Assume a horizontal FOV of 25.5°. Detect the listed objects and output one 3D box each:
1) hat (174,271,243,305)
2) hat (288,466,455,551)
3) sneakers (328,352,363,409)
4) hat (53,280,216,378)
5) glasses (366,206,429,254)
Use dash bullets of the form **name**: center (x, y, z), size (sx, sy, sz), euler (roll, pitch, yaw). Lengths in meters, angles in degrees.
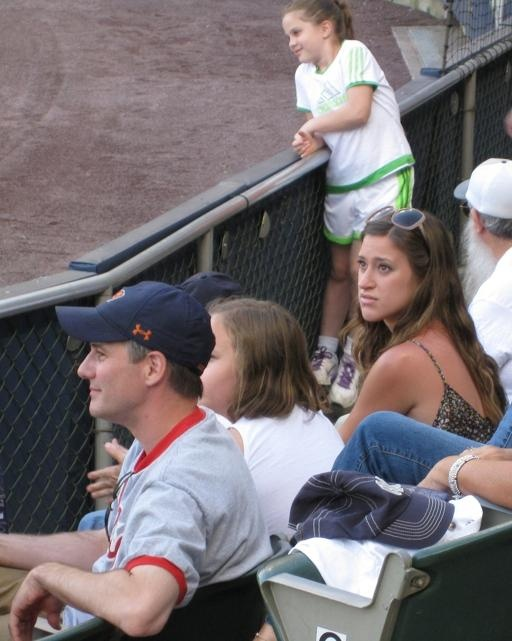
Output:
- **hat**: center (-0.147, -0.115, 3.380), size (0.150, 0.057, 0.108), euler (15, 23, 41)
- **hat**: center (0.219, 0.364, 2.214), size (0.253, 0.093, 0.157), euler (-5, 24, 27)
- **sneakers**: center (0.368, 0.256, 4.634), size (0.097, 0.112, 0.262), euler (14, 58, 5)
- **hat**: center (-0.253, 0.004, 2.385), size (0.292, 0.141, 0.167), euler (15, 9, -6)
- **glasses**: center (0.444, -0.273, 3.417), size (0.129, 0.120, 0.037), euler (-4, 12, 22)
